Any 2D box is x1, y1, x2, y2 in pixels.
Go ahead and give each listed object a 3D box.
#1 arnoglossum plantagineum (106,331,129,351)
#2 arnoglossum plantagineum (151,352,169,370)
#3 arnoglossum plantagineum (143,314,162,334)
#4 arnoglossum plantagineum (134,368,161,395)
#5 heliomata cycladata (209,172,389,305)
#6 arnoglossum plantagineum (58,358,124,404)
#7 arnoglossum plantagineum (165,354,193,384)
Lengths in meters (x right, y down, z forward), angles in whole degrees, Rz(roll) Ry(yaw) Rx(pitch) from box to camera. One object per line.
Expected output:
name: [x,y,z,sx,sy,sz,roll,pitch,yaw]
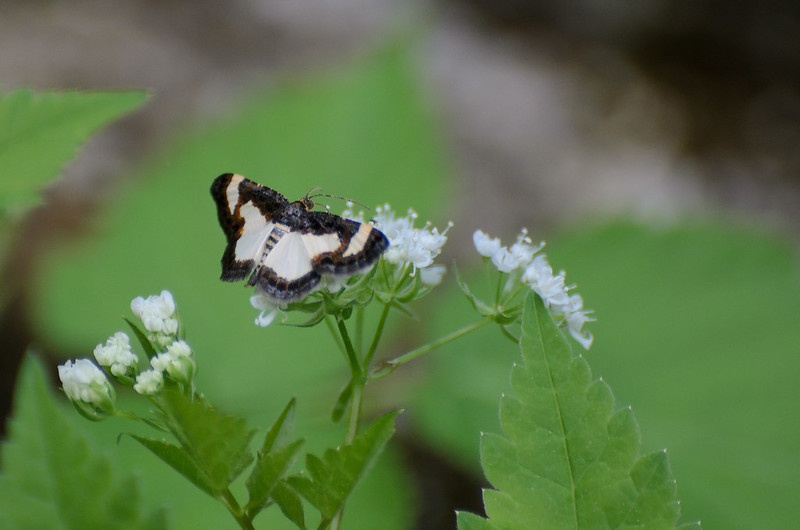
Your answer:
arnoglossum plantagineum: [-0.791,0.213,2.377,0.049,0.052,0.021,-17,-26,-26]
arnoglossum plantagineum: [-0.636,0.257,2.266,0.042,0.014,0.044,-40,-84,0]
arnoglossum plantagineum: [-0.687,0.163,2.359,0.036,0.035,0.051,-1,-19,7]
arnoglossum plantagineum: [-0.663,0.304,2.246,0.053,0.067,0.045,-28,-56,-7]
heliomata cycladata: [-0.302,-0.056,2.478,0.540,0.327,0.173,10,-39,2]
arnoglossum plantagineum: [-0.836,0.311,2.275,0.147,0.099,0.068,17,-41,-6]
arnoglossum plantagineum: [-0.587,0.277,2.280,0.063,0.084,0.059,-2,2,-44]
